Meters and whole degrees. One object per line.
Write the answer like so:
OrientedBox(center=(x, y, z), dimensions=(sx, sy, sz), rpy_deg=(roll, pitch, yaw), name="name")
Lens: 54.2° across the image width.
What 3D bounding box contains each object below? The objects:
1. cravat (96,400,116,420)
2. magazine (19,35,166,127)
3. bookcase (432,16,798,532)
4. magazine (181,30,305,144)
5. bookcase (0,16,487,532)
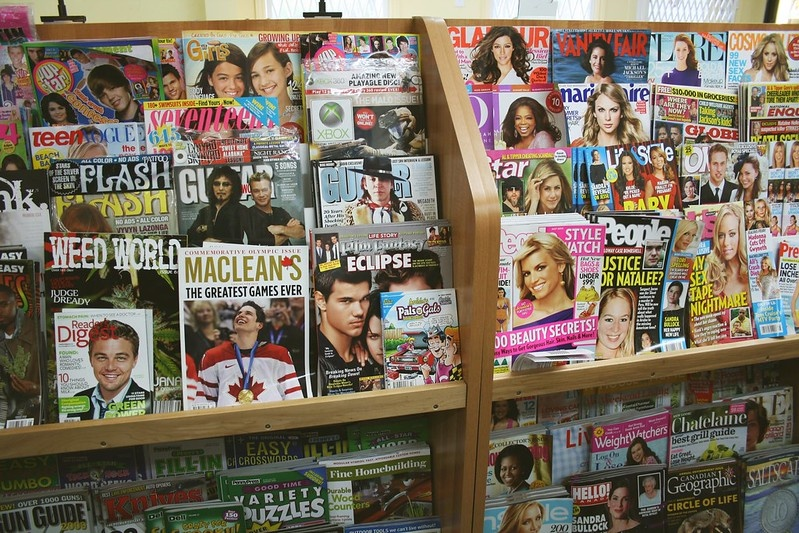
OrientedBox(center=(-0.842, 0.413, 2.246), dimensions=(0.049, 0.050, 0.012), rpy_deg=(5, -1, -7), name="cravat")
OrientedBox(center=(-0.950, -0.568, 2.383), dimensions=(0.279, 0.248, 0.038), rpy_deg=(-3, 10, -5), name="magazine")
OrientedBox(center=(0.658, 0.059, 2.512), dimensions=(1.498, 1.403, 0.497), rpy_deg=(-8, 22, -16), name="bookcase")
OrientedBox(center=(-0.506, -0.569, 2.436), dimensions=(0.353, 0.359, 0.040), rpy_deg=(-3, 4, -5), name="magazine")
OrientedBox(center=(-0.506, 0.064, 2.345), dimensions=(1.235, 1.192, 0.864), rpy_deg=(-7, 28, -13), name="bookcase")
